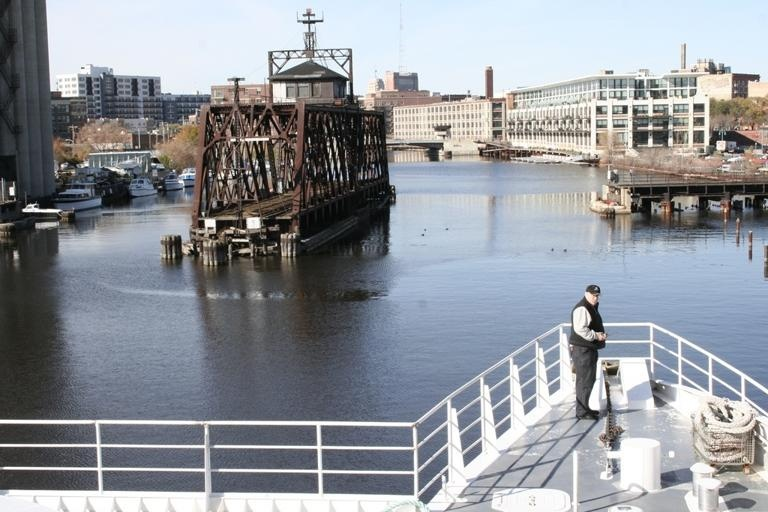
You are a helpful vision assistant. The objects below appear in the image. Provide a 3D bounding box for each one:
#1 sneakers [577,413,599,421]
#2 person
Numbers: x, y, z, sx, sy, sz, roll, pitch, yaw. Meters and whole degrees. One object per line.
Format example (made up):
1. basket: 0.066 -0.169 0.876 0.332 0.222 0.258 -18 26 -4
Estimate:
1. sneakers: 5.536 4.361 31.576 0.594 0.213 0.198 3 0 3
2. person: 5.493 2.619 31.366 0.940 3.642 0.566 -1 8 8
